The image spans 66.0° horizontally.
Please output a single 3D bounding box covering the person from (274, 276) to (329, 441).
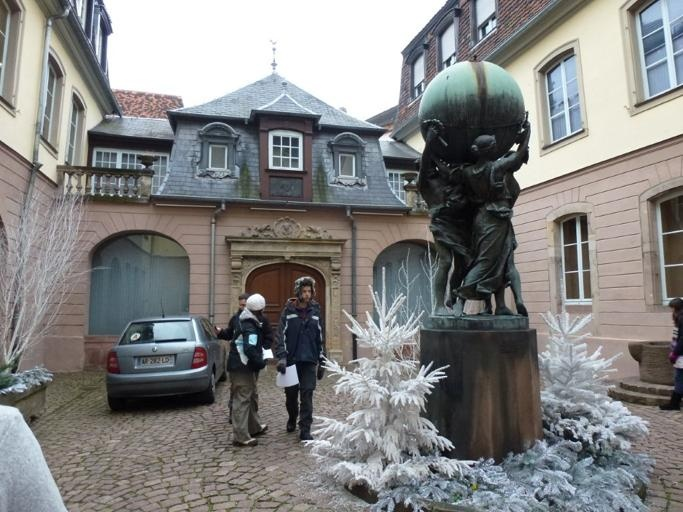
[{"bbox_3d":[-0.571,1.470,7.590,0.657,2.301,0.789,-1,-1,-3],"label":"person"}]

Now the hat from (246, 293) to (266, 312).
[{"bbox_3d":[-1.231,0.684,7.723,0.289,0.265,0.229,2,2,-19],"label":"hat"}]

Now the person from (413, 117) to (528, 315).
[{"bbox_3d":[1.586,-0.443,6.272,1.267,2.308,0.519,-1,-1,9],"label":"person"}]

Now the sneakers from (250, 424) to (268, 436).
[{"bbox_3d":[-1.193,2.615,7.851,0.098,0.213,0.292,-11,-16,33],"label":"sneakers"}]

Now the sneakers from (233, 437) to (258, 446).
[{"bbox_3d":[-1.369,2.602,7.364,0.365,0.166,0.129,-3,-5,4],"label":"sneakers"}]

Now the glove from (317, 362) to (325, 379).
[{"bbox_3d":[-0.295,1.659,7.561,0.063,0.216,0.152,6,-6,-5],"label":"glove"}]

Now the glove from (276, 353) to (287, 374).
[{"bbox_3d":[-0.833,1.505,7.286,0.077,0.236,0.164,7,-15,-35],"label":"glove"}]

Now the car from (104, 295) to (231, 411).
[{"bbox_3d":[-3.215,1.944,9.697,2.053,1.608,1.428,-1,-1,-29],"label":"car"}]

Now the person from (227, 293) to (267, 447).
[{"bbox_3d":[-1.337,1.605,7.566,0.522,2.064,0.598,-2,-1,23],"label":"person"}]

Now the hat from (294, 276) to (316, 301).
[{"bbox_3d":[-0.542,0.489,7.829,0.319,0.415,0.414,3,-5,-8],"label":"hat"}]
